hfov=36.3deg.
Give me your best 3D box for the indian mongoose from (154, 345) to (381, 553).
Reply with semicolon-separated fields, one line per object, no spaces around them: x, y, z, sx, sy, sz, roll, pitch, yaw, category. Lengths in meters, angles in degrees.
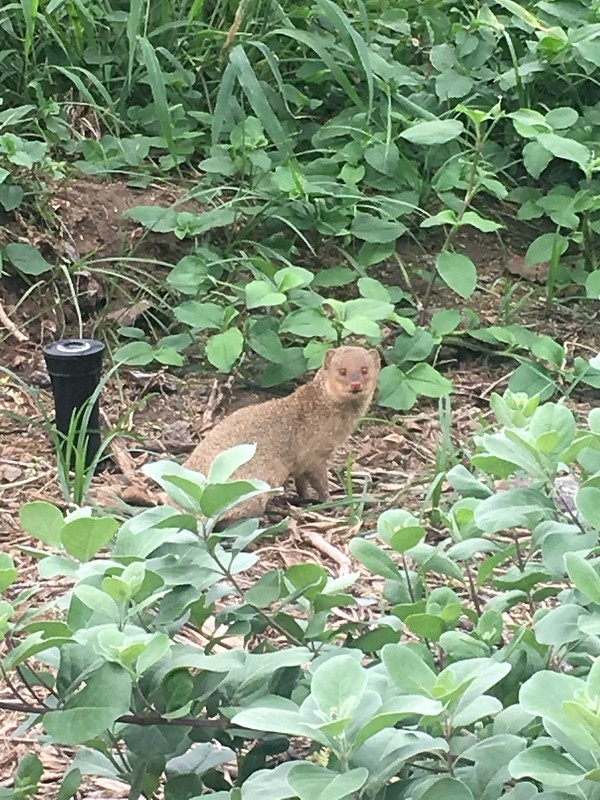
-0.028;0.144;3.480;1.166;0.553;0.387;-18;6;40;indian mongoose
